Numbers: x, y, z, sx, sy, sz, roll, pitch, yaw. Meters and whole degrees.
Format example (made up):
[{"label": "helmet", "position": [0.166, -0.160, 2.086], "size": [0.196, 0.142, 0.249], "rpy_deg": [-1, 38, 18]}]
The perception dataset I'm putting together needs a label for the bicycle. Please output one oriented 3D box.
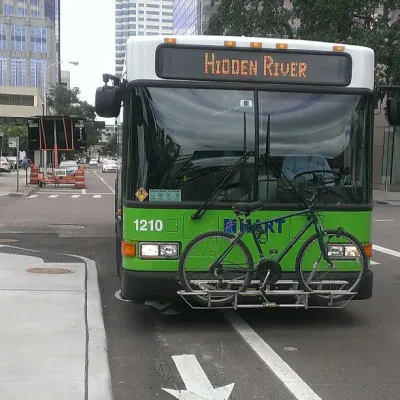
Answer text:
[{"label": "bicycle", "position": [0.702, 0.370, 5.889], "size": [1.940, 1.707, 1.032], "rpy_deg": [-2, 5, -7]}]
